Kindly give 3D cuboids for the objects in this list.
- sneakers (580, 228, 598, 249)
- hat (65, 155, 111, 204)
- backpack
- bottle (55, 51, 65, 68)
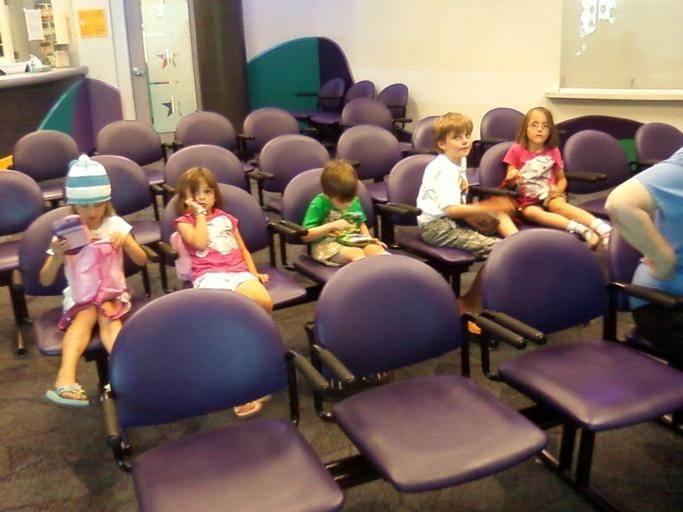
[{"bbox_3d":[1.509,-0.107,3.310,0.107,0.047,0.144,13,34,-29],"label":"sneakers"},{"bbox_3d":[-1.239,-0.374,2.580,0.208,0.228,0.218,-13,17,-40],"label":"hat"},{"bbox_3d":[-1.154,0.126,2.530,0.356,0.169,0.402,-11,67,-19],"label":"backpack"},{"bbox_3d":[-4.063,-2.868,7.794,0.173,0.208,0.115,-9,23,-17],"label":"bottle"}]
